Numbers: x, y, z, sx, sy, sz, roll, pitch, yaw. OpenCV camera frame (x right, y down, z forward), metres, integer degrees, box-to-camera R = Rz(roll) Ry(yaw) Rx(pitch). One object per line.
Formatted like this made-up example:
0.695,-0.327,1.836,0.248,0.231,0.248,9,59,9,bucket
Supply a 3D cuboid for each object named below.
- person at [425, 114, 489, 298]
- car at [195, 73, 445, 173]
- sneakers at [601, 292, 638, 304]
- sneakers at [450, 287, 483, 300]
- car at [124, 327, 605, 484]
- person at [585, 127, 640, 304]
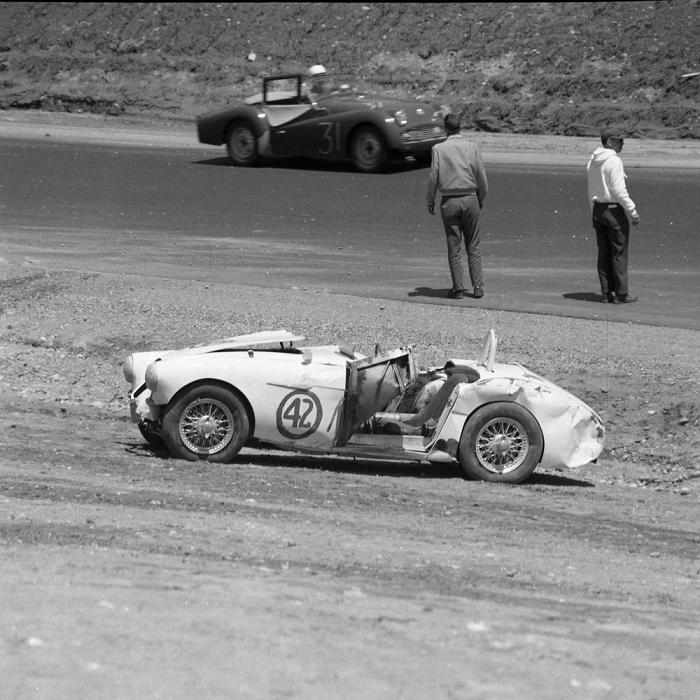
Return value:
1.006,-1.320,12.627,0.520,1.811,0.899,3,14,6,person
-0.389,-3.270,19.688,3.150,1.124,1.706,5,12,26,car
2.588,-0.496,13.035,0.366,0.150,0.118,-3,15,4,sneakers
1.138,-0.552,13.196,0.342,0.142,0.116,-1,22,3,sneakers
0.092,0.384,8.655,2.389,0.749,1.270,7,-3,-1,car
2.443,-1.213,12.529,0.512,1.705,0.911,5,14,12,person
